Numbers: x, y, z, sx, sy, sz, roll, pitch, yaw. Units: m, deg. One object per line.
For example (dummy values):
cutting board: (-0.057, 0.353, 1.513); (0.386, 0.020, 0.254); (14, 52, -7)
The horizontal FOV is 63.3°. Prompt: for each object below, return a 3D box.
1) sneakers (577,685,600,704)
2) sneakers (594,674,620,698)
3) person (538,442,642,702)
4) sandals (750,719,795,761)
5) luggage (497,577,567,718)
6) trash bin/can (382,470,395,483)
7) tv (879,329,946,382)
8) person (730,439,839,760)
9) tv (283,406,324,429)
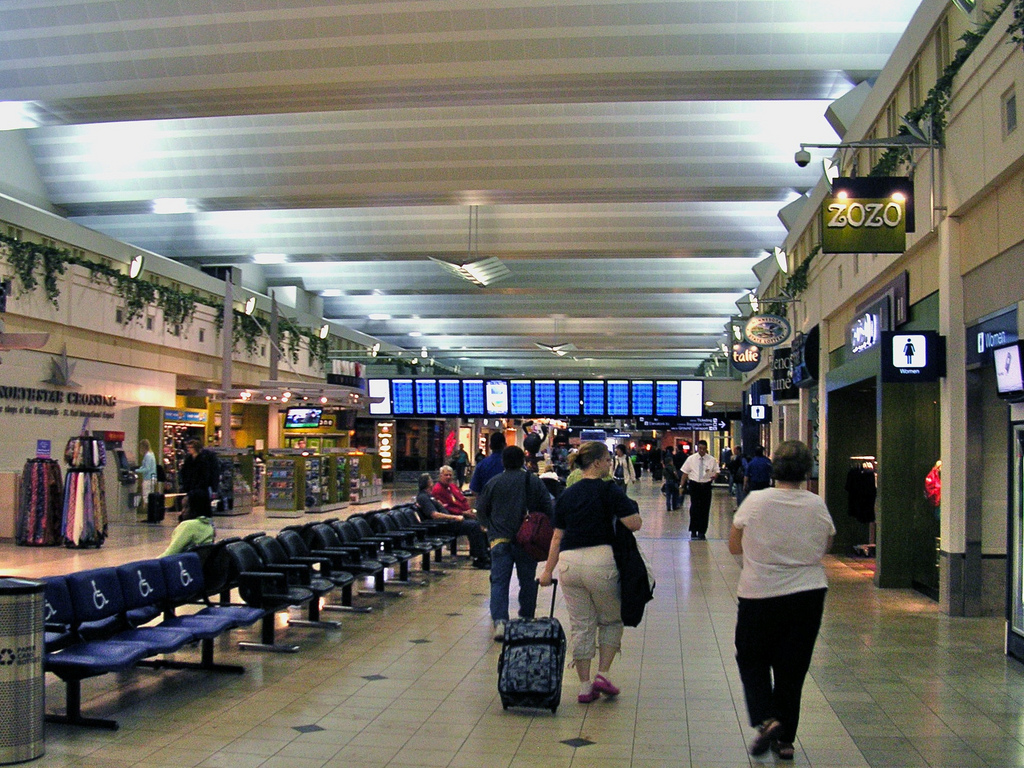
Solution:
sneakers: (0.546, 2.278, 6.085); (0.078, 0.069, 0.200); (0, -2, 21)
sneakers: (0.680, 2.232, 6.147); (0.128, 0.097, 0.258); (-6, -28, 31)
person: (0.624, 1.365, 6.079); (0.741, 1.905, 0.447); (-7, -8, 27)
sandals: (1.561, 2.160, 5.018); (0.177, 0.133, 0.351); (0, -6, 7)
luggage: (0.159, 1.849, 6.031); (0.532, 0.926, 0.384); (-6, -25, 15)
trash bin/can: (-5.593, 4.202, 37.820); (0.518, 0.571, 0.659); (1, -3, -14)
tv: (4.612, -0.336, 9.636); (0.725, 0.600, 0.265); (-7, -8, 28)
person: (1.675, 1.315, 5.128); (0.653, 1.919, 0.408); (-5, -7, 12)
tv: (-7.923, 1.241, 31.401); (1.117, 0.619, 0.139); (2, 2, 2)
